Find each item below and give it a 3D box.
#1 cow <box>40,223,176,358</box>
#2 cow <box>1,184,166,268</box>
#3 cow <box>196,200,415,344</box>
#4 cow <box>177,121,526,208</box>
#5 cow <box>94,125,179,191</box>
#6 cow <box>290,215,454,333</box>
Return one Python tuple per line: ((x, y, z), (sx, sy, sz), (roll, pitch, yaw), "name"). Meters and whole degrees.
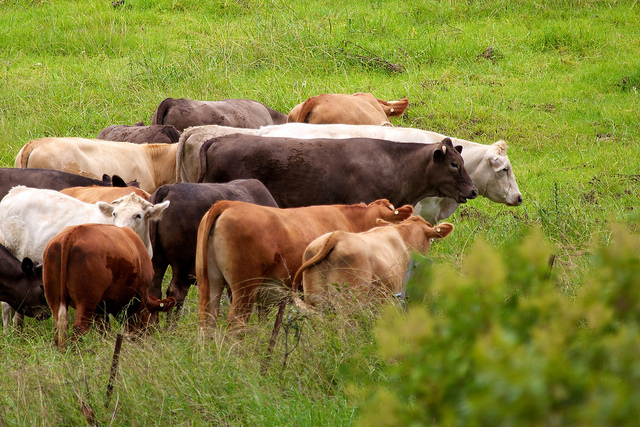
((-2.563, 0.994, 10.392), (0.957, 1.674, 2.159), (3, -2, 19), "cow")
((-3.248, 0.209, 10.774), (2.440, 1.452, 0.948), (4, 4, -17), "cow")
((-0.156, 0.732, 10.611), (3.121, 1.866, 0.989), (-1, 4, -38), "cow")
((0.367, -0.670, 11.890), (4.057, 1.941, 1.042), (1, 13, 1), "cow")
((-3.181, -1.033, 14.292), (1.659, 1.268, 0.814), (-2, 9, -18), "cow")
((0.659, 0.538, 9.942), (1.872, 1.074, 0.859), (-20, 23, -41), "cow")
